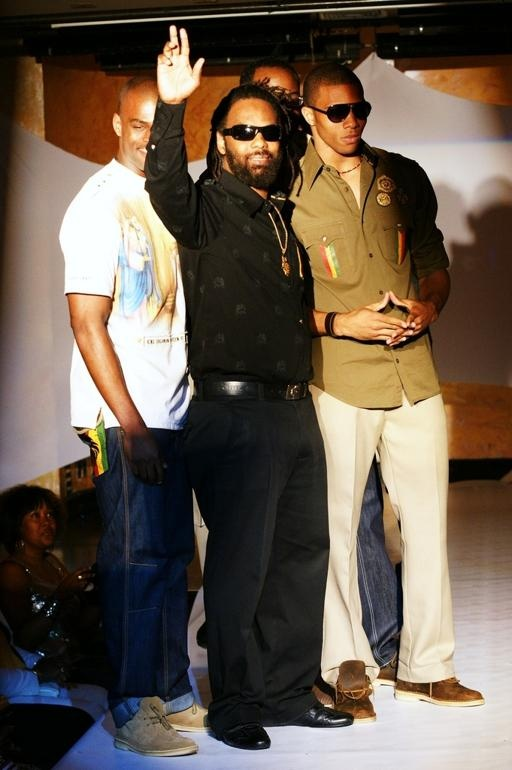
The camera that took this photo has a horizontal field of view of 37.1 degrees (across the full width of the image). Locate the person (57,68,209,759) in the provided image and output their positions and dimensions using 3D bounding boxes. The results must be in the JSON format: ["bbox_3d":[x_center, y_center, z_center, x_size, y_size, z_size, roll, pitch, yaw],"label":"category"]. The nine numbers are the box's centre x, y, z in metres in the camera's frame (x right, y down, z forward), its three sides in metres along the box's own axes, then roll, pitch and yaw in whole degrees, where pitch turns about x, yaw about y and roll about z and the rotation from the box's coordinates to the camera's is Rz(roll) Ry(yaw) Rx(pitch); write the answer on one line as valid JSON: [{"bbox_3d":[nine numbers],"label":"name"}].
[{"bbox_3d":[-0.339,0.058,2.058,0.349,1.811,0.293,-2,2,-3],"label":"person"}]

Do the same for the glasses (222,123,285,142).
[{"bbox_3d":[-0.018,-0.662,2.033,0.158,0.050,0.054,-1,2,10],"label":"glasses"}]

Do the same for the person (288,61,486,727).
[{"bbox_3d":[0.378,-0.021,2.420,0.701,1.867,0.613,-10,11,-8],"label":"person"}]

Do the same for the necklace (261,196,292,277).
[{"bbox_3d":[0.063,-0.411,2.119,0.064,0.221,0.021,-4,-15,-15],"label":"necklace"}]
